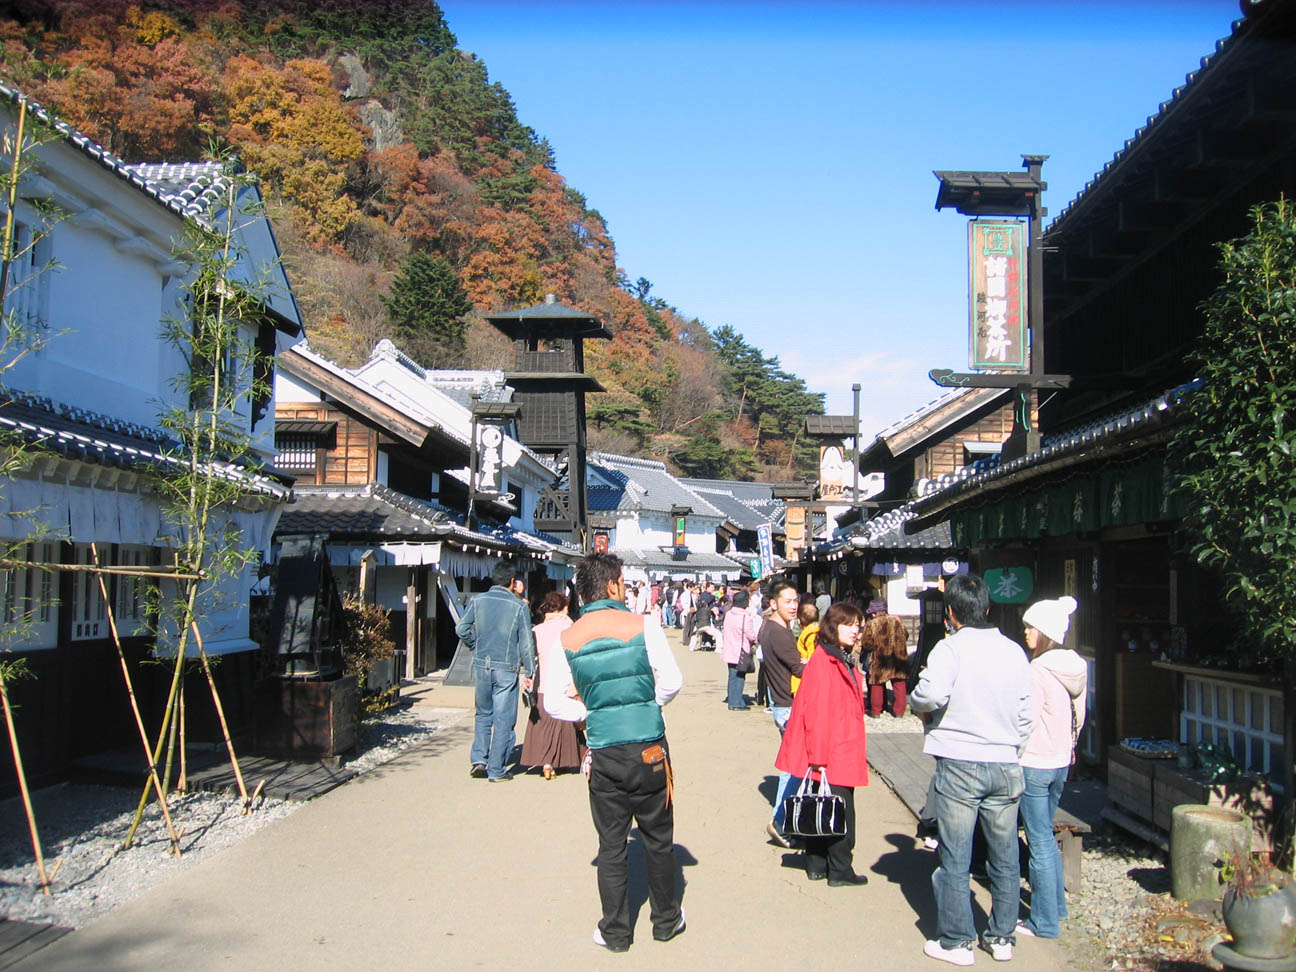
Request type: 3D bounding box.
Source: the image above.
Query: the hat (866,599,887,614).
[{"bbox_3d":[4.158,2.164,19.319,0.305,0.445,0.230,2,-9,-6],"label":"hat"}]

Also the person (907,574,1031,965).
[{"bbox_3d":[2.207,1.912,7.311,0.811,2.558,0.516,1,2,7],"label":"person"}]

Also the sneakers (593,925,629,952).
[{"bbox_3d":[-0.272,3.072,7.292,0.281,0.145,0.119,2,2,24],"label":"sneakers"}]

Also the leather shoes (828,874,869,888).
[{"bbox_3d":[1.570,3.070,8.345,0.283,0.138,0.112,-4,-2,-6],"label":"leather shoes"}]

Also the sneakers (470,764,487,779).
[{"bbox_3d":[-1.782,2.999,11.229,0.138,0.152,0.106,1,-2,-2],"label":"sneakers"}]

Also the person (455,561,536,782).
[{"bbox_3d":[-1.623,1.958,11.421,0.786,2.251,0.841,1,2,-10],"label":"person"}]

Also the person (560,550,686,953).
[{"bbox_3d":[-0.159,1.821,7.522,0.884,2.631,0.663,1,2,2],"label":"person"}]

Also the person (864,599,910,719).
[{"bbox_3d":[3.680,2.670,16.415,0.609,1.584,2.191,2,2,15],"label":"person"}]

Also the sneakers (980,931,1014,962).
[{"bbox_3d":[2.393,3.100,7.286,0.217,0.177,0.238,2,2,20],"label":"sneakers"}]

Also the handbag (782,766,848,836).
[{"bbox_3d":[1.289,2.395,8.132,0.552,0.688,0.271,2,7,11],"label":"handbag"}]

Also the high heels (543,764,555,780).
[{"bbox_3d":[-1.061,3.037,11.376,0.130,0.195,0.103,3,-15,-9],"label":"high heels"}]
